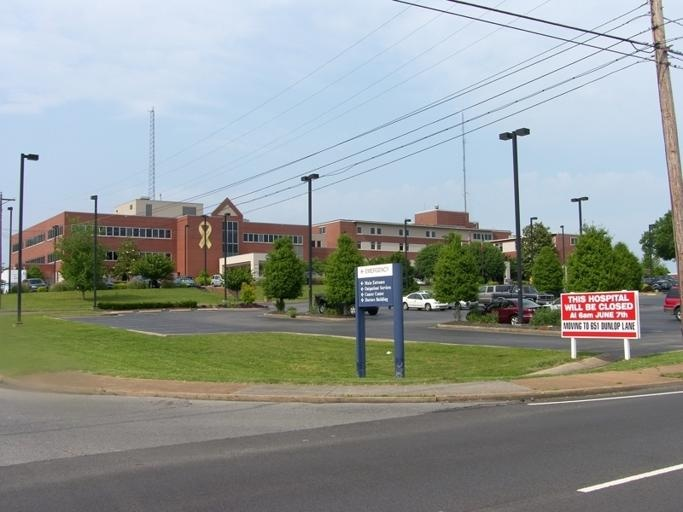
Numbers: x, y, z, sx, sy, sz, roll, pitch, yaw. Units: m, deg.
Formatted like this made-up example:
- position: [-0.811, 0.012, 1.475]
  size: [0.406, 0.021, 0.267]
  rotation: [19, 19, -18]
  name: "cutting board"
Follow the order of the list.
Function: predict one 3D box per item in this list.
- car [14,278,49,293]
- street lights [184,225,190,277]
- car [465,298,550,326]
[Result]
- position: [-28.275, 2.731, 76.242]
  size: [1.582, 1.215, 3.163]
  rotation: [2, -7, -39]
  name: "car"
- position: [-19.355, -0.726, 105.014]
  size: [0.471, 6.270, 0.839]
  rotation: [0, 2, -16]
  name: "street lights"
- position: [8.150, 2.817, 41.225]
  size: [4.454, 1.245, 3.058]
  rotation: [0, -1, -34]
  name: "car"
